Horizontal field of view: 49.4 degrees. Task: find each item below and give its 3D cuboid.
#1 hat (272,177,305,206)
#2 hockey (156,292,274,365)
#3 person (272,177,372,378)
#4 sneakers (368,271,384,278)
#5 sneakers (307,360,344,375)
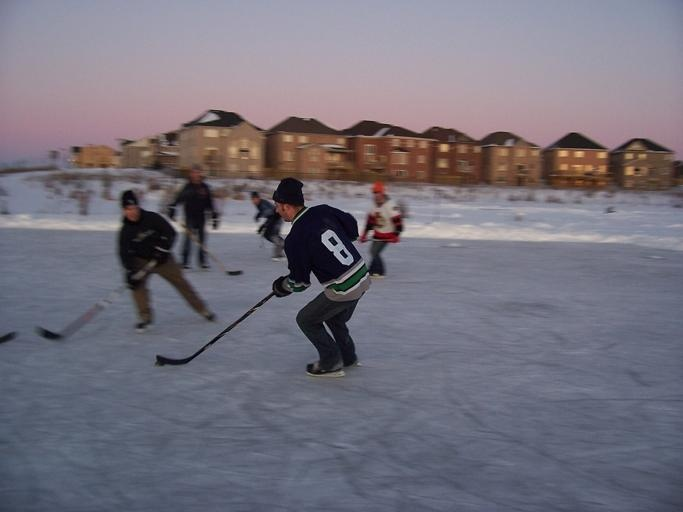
[{"bbox_3d":[-0.475,-0.586,6.716,0.273,0.254,0.215,1,8,-3],"label":"hat"},{"bbox_3d":[-1.400,0.823,8.195,1.328,0.119,0.347,-24,36,-9],"label":"hockey"},{"bbox_3d":[-0.187,0.206,6.850,0.871,1.856,0.647,3,9,12],"label":"person"},{"bbox_3d":[0.552,0.303,11.559,0.286,0.070,0.084,3,-4,-4],"label":"sneakers"},{"bbox_3d":[-0.156,1.060,6.998,0.340,0.061,0.141,2,-6,4],"label":"sneakers"}]
